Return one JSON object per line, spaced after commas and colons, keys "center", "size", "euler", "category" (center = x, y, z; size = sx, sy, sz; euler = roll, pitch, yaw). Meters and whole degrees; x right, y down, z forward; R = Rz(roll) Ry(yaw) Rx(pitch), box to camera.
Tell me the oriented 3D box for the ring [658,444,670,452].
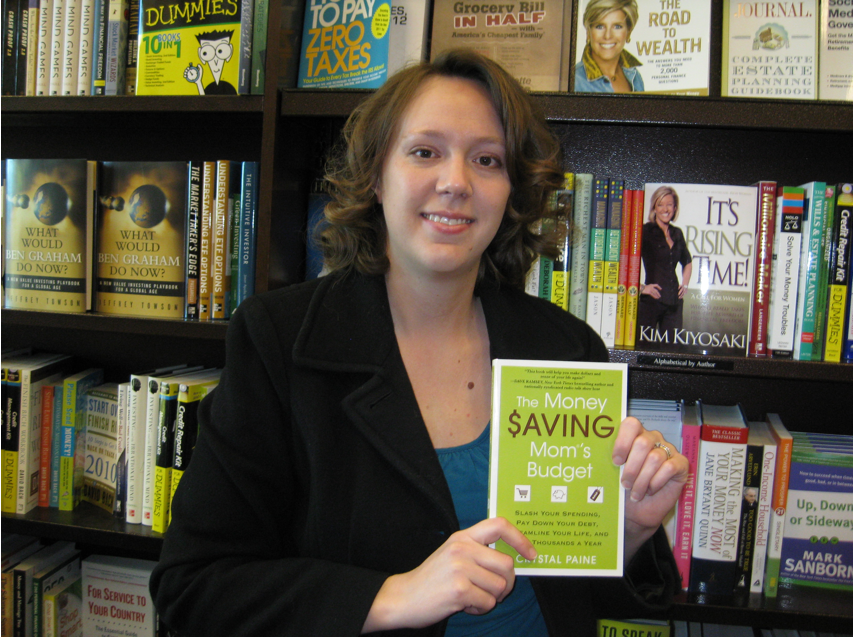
{"center": [0.510, 0.273, 1.594], "size": [0.017, 0.014, 0.018], "euler": [1, -6, 0], "category": "ring"}
